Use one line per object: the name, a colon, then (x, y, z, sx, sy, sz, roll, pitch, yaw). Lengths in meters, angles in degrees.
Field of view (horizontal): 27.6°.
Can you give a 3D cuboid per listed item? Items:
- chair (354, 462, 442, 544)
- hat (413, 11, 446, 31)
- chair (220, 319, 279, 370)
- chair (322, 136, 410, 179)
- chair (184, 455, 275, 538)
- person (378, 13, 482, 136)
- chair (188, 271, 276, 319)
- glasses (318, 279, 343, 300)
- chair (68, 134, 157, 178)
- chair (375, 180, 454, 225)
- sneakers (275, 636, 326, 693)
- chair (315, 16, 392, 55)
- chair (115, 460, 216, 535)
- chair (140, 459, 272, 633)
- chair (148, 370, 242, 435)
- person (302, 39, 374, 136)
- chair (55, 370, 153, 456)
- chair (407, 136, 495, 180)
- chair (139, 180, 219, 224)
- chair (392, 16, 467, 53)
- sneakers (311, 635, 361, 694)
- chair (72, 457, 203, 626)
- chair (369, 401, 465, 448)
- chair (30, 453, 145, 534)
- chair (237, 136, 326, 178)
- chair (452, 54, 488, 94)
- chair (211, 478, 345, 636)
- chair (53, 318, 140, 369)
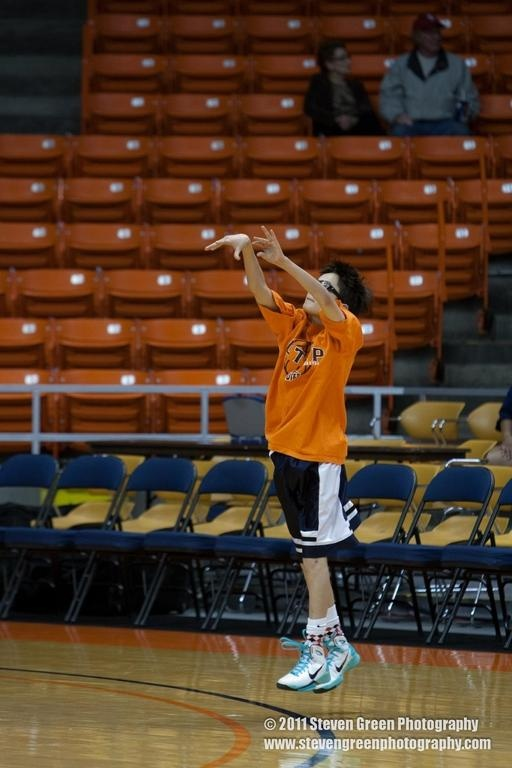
chair: (0.647, 0.591, 5.235, 0.418, 0.477, 0.442, -5, -1, 34)
hat: (1.845, -3.782, 10.874, 0.224, 0.136, 0.292, -15, 11, -40)
chair: (-0.045, -0.310, 8.122, 0.467, 0.449, 0.403, 0, 0, 15)
chair: (1.098, -2.199, 10.095, 0.738, 0.390, 0.477, 1, 11, 7)
chair: (-0.117, 0.601, 5.584, 0.382, 0.556, 0.514, -1, -9, 33)
person: (1.780, -3.167, 10.636, 0.997, 1.190, 1.220, -3, 21, 17)
chair: (-0.243, -0.733, 8.638, 0.678, 0.379, 0.440, 0, 0, -23)
glasses: (0.248, -0.313, 3.383, 0.068, 0.064, 0.022, 5, 47, 49)
chair: (-1.391, -2.278, 10.329, 0.845, 0.441, 0.555, 1, 11, 0)
chair: (1.513, -1.694, 9.567, 0.854, 0.493, 0.550, 0, 1, 2)
sneakers: (0.144, 0.829, 3.091, 0.100, 0.139, 0.226, 3, 2, 37)
chair: (1.184, -4.018, 11.984, 0.825, 0.243, 0.548, -1, 7, -2)
chair: (-0.542, 0.620, 5.747, 0.443, 0.526, 0.482, 0, -6, 29)
chair: (-0.237, 0.779, 5.145, 0.666, 0.754, 0.468, -7, 3, -44)
chair: (-0.436, 0.118, 7.582, 0.947, 0.518, 0.458, 0, -3, -7)
person: (0.850, -3.044, 10.707, 0.732, 0.935, 0.987, -9, 20, 1)
chair: (-1.106, 0.229, 7.547, 0.703, 0.473, 0.616, 0, -10, -1)
chair: (1.920, -2.185, 10.179, 0.948, 0.272, 0.578, 0, -5, 3)
chair: (-0.692, -1.692, 9.663, 0.533, 0.205, 0.537, -1, 3, -10)
chair: (2.027, -3.998, 12.002, 0.529, 0.304, 0.664, -21, 25, -38)
sneakers: (0.241, 0.833, 3.164, 0.078, 0.129, 0.218, -1, 17, 38)
chair: (-0.593, 0.757, 5.320, 0.514, 0.728, 0.633, -2, 7, 36)
chair: (1.169, 0.274, 7.047, 0.356, 0.384, 0.361, -2, -7, 25)
chair: (-0.956, 0.622, 5.922, 0.508, 0.573, 0.524, -5, -13, 28)
chair: (0.279, -2.230, 10.213, 0.763, 0.428, 0.485, 1, 13, 4)
chair: (2.538, -3.441, 11.521, 0.581, 0.352, 0.478, 2, 14, -13)
chair: (0.097, 0.771, 4.785, 0.506, 0.684, 0.564, 10, -12, -37)
chair: (-1.170, -0.323, 8.347, 0.808, 0.374, 0.808, -1, 4, -37)
